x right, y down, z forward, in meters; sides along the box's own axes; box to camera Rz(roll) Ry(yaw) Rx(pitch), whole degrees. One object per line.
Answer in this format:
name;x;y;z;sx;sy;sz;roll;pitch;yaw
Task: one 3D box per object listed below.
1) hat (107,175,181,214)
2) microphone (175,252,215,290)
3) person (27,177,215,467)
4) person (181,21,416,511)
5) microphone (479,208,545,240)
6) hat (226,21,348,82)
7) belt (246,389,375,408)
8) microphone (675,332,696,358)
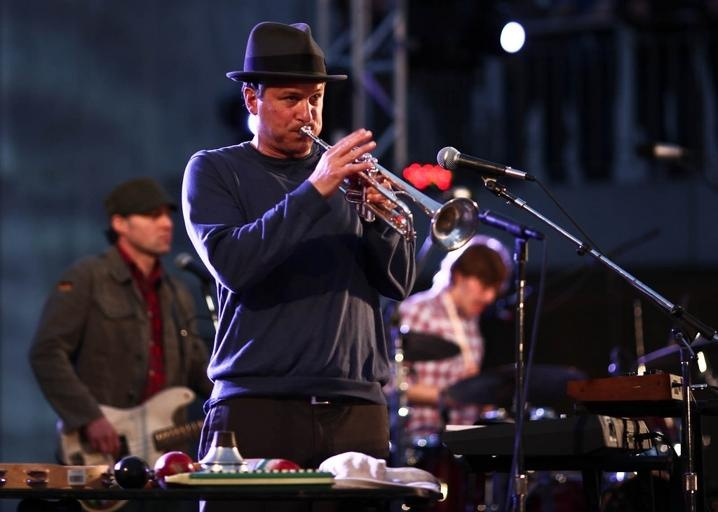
hat;-1.621;-0.426;9.361;0.383;0.184;0.282;-18;0;12
microphone;-1.223;0.104;9.370;0.304;0.073;0.114;21;3;-8
person;-1.623;0.865;9.413;1.436;2.873;0.878;-8;21;-32
person;-0.388;0.055;7.274;1.273;2.807;0.583;-2;-14;2
microphone;1.085;-0.220;9.014;0.535;0.158;0.112;24;30;16
hat;-0.450;-1.234;7.516;0.691;0.303;0.833;-11;15;-35
belt;-0.268;0.808;7.101;0.778;0.067;0.088;1;-14;-10
microphone;1.900;0.520;7.347;0.107;0.144;0.097;-7;-15;24
